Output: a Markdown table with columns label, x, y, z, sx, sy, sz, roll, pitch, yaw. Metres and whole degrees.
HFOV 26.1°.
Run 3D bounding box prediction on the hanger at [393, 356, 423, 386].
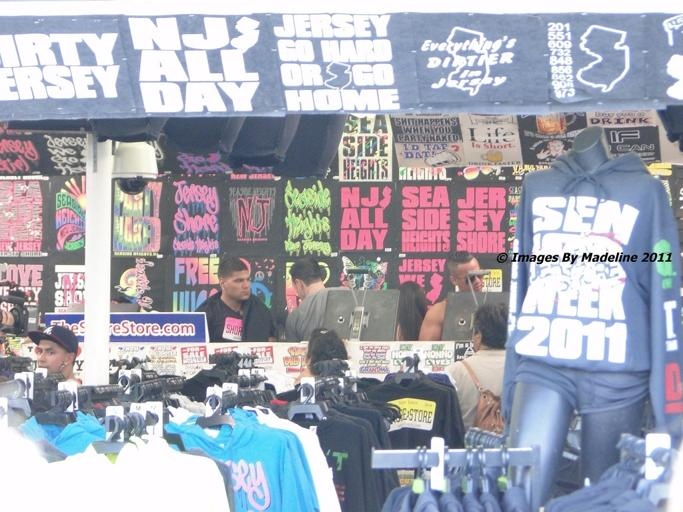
| label | x | y | z | sx | sy | sz | roll | pitch | yaw |
| --- | --- | --- | --- | --- | --- | --- | --- | --- | --- |
| hanger | 0.362 | 0.589 | 7.601 | 0.139 | 0.125 | 0.237 | 0 | 1 | 10 |

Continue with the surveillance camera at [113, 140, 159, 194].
| label | x | y | z | sx | sy | sz | roll | pitch | yaw |
| --- | --- | --- | --- | --- | --- | --- | --- | --- | --- |
| surveillance camera | -1.126 | -0.471 | 7.901 | 0.258 | 0.302 | 0.308 | 1 | -3 | -24 |

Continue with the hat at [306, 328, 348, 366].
| label | x | y | z | sx | sy | sz | roll | pitch | yaw |
| --- | --- | --- | --- | --- | --- | --- | --- | --- | --- |
| hat | -0.073 | 0.459 | 7.621 | 0.155 | 0.194 | 0.207 | 2 | -4 | 5 |

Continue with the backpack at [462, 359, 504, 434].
| label | x | y | z | sx | sy | sz | roll | pitch | yaw |
| --- | --- | --- | --- | --- | --- | --- | --- | --- | --- |
| backpack | 0.760 | 0.773 | 7.828 | 0.183 | 0.406 | 0.176 | -3 | 0 | 3 |

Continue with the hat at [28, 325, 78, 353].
| label | x | y | z | sx | sy | sz | roll | pitch | yaw |
| --- | --- | --- | --- | --- | --- | --- | --- | --- | --- |
| hat | -1.543 | 0.436 | 7.938 | 0.236 | 0.115 | 0.138 | 15 | -6 | -16 |
